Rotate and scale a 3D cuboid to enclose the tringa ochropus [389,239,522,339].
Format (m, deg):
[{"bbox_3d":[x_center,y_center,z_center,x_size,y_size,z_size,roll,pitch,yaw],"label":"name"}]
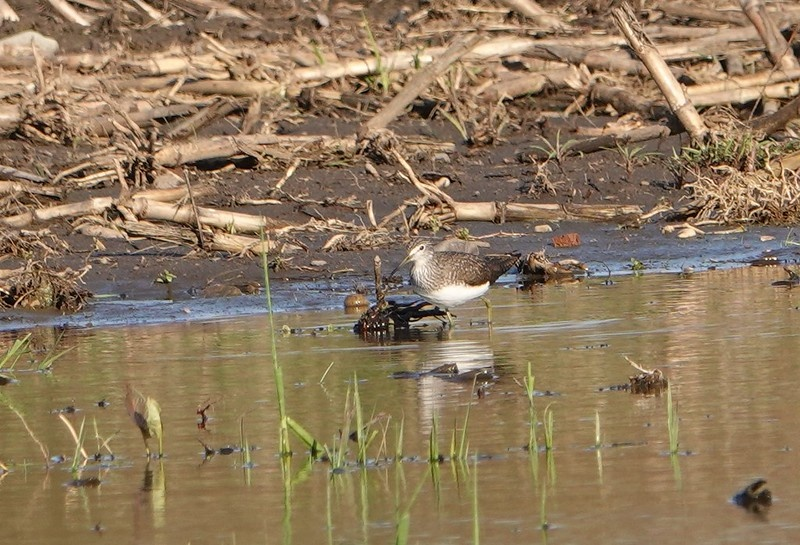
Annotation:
[{"bbox_3d":[0.532,0.085,9.555,0.677,0.862,1.005,0,14,22],"label":"tringa ochropus"}]
